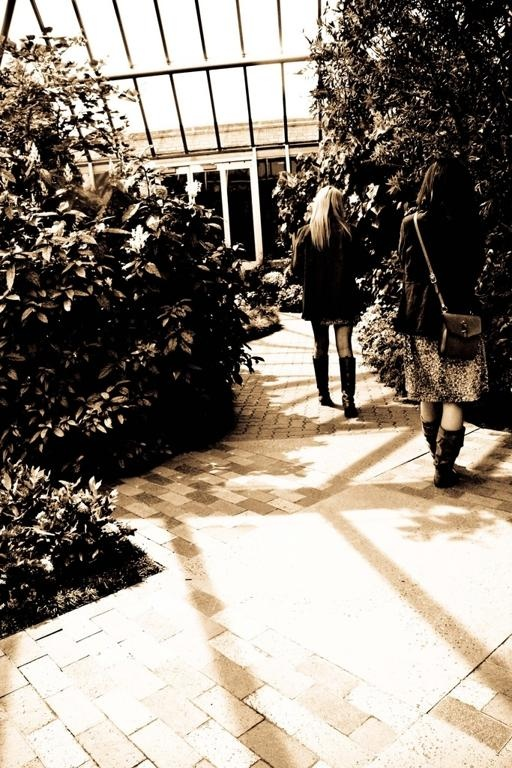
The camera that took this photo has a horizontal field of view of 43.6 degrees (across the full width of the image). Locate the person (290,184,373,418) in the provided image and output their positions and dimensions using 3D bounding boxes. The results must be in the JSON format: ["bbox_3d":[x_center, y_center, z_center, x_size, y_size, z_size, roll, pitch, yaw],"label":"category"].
[{"bbox_3d":[0.561,-0.628,5.016,0.398,1.760,0.543,-13,13,-40],"label":"person"}]

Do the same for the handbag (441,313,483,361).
[{"bbox_3d":[0.975,-0.227,3.060,0.186,0.228,0.115,-1,11,18],"label":"handbag"}]

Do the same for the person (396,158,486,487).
[{"bbox_3d":[0.935,-0.279,3.237,0.328,1.623,0.470,-8,10,-16],"label":"person"}]
